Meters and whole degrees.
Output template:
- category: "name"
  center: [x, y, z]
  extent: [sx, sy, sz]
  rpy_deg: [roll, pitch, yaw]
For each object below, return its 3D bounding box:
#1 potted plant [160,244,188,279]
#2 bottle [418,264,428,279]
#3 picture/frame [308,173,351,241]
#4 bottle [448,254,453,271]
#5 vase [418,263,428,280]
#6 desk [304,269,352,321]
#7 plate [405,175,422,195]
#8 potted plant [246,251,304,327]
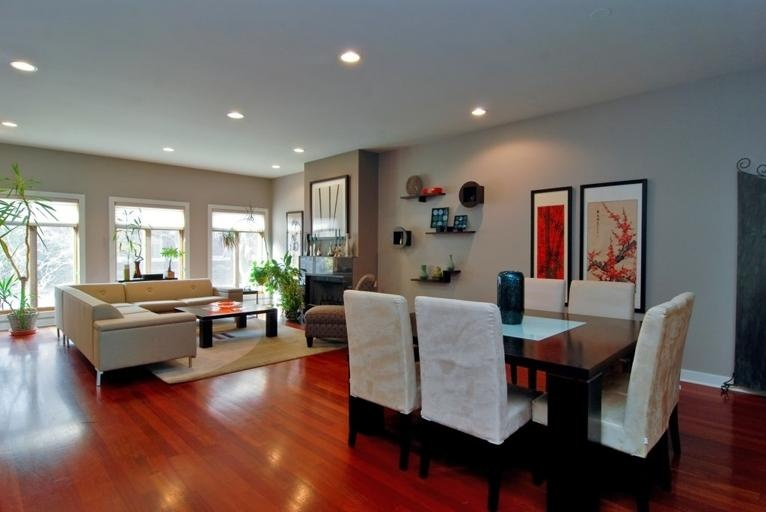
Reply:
- category: "potted plant"
  center: [-4.006, 0.097, 9.477]
  extent: [0.502, 0.728, 0.570]
  rpy_deg: [1, 1, -6]
- category: "bottle"
  center: [0.619, 0.220, 7.507]
  extent: [0.172, 0.239, 0.177]
  rpy_deg: [0, -2, 0]
- category: "picture/frame"
  center: [-0.874, -0.834, 8.474]
  extent: [0.119, 1.171, 1.180]
  rpy_deg: [3, -2, -41]
- category: "bottle"
  center: [0.997, 0.093, 7.284]
  extent: [0.097, 0.225, 0.187]
  rpy_deg: [-1, 2, 8]
- category: "vase"
  center: [0.613, 0.237, 7.513]
  extent: [0.187, 0.255, 0.188]
  rpy_deg: [1, -6, -2]
- category: "desk"
  center: [-0.825, 0.588, 7.690]
  extent: [0.280, 0.812, 0.857]
  rpy_deg: [0, -1, -45]
- category: "plate"
  center: [0.472, -1.091, 7.825]
  extent: [0.284, 0.352, 0.290]
  rpy_deg: [6, 8, 39]
- category: "potted plant"
  center: [-1.868, 0.550, 9.388]
  extent: [1.172, 1.589, 1.198]
  rpy_deg: [-9, 0, -8]
